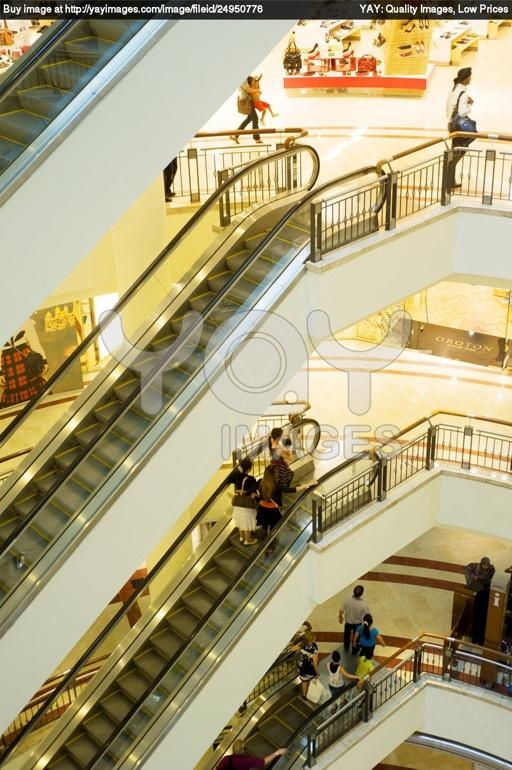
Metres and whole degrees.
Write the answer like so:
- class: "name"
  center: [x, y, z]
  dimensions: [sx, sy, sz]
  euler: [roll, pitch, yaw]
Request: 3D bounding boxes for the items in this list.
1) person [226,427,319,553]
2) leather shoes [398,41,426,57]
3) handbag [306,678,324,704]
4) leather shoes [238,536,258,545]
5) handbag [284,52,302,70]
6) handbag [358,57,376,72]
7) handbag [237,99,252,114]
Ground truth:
- class: "person"
  center: [0.105, 1.079, 8.274]
  dimensions: [0.736, 1.118, 1.172]
  euler: [29, -35, 2]
- class: "leather shoes"
  center: [3.161, -6.786, 14.447]
  dimensions: [0.550, 0.293, 0.090]
  euler: [2, -29, 0]
- class: "handbag"
  center: [0.833, 4.255, 10.001]
  dimensions: [0.200, 0.219, 0.360]
  euler: [-10, -43, -14]
- class: "leather shoes"
  center: [-0.086, 1.838, 8.464]
  dimensions: [0.155, 0.087, 0.061]
  euler: [-8, -72, -12]
- class: "handbag"
  center: [0.739, -6.598, 14.596]
  dimensions: [0.264, 0.320, 0.358]
  euler: [15, -42, 11]
- class: "handbag"
  center: [2.203, -6.324, 14.101]
  dimensions: [0.289, 0.102, 0.277]
  euler: [9, -45, 13]
- class: "handbag"
  center: [-0.161, -4.178, 10.693]
  dimensions: [0.172, 0.115, 0.207]
  euler: [32, -31, 21]
